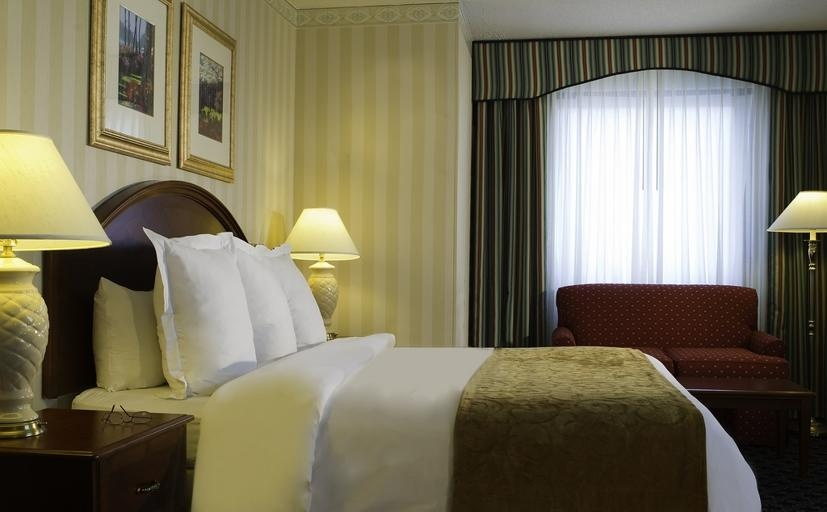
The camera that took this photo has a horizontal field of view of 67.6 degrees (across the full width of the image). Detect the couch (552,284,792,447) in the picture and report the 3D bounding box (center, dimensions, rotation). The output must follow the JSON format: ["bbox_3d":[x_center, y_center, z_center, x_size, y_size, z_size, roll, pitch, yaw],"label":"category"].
[{"bbox_3d":[2.152,0.852,5.314,1.709,1.321,1.022,-2,-4,18],"label":"couch"}]
